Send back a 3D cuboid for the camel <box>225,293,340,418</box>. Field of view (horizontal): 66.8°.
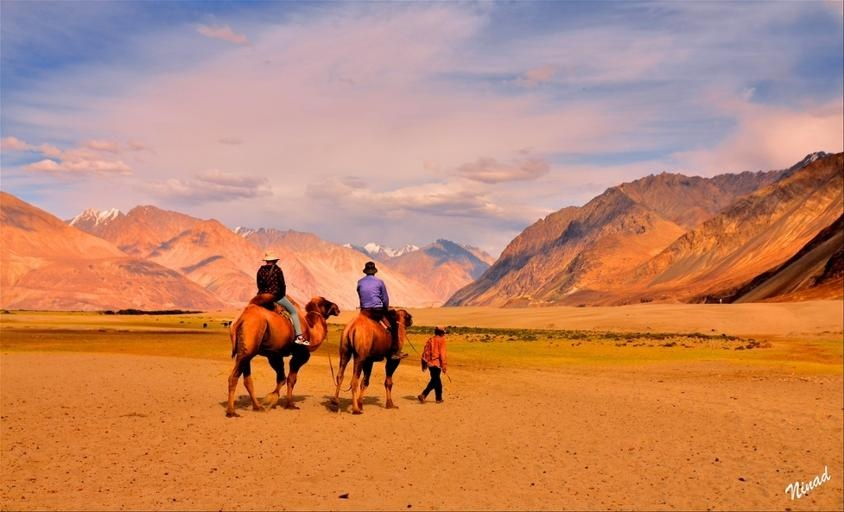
[{"bbox_3d":[-5.945,4.231,28.220,2.326,4.669,7.407,-12,-8,28],"label":"camel"}]
